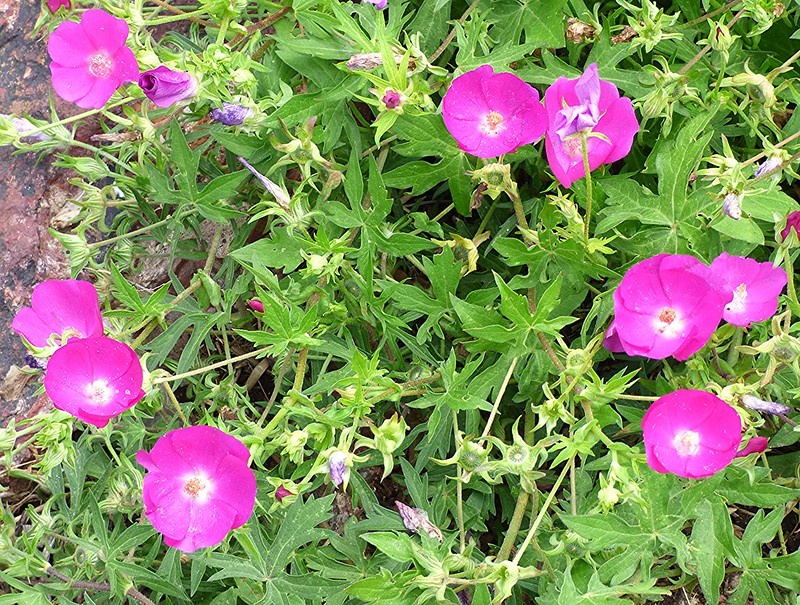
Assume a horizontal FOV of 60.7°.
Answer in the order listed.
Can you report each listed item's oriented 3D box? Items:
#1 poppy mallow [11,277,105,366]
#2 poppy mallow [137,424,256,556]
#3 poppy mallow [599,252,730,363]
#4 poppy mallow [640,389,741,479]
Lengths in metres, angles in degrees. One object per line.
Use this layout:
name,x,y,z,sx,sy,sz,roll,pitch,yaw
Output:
poppy mallow,-0.982,0.047,1.968,0.215,0.105,0.231,29,92,10
poppy mallow,-0.533,0.483,1.801,0.291,0.141,0.296,-9,70,-6
poppy mallow,0.754,0.018,1.904,0.280,0.120,0.315,16,82,34
poppy mallow,0.787,0.352,1.913,0.261,0.255,0.268,8,24,16
